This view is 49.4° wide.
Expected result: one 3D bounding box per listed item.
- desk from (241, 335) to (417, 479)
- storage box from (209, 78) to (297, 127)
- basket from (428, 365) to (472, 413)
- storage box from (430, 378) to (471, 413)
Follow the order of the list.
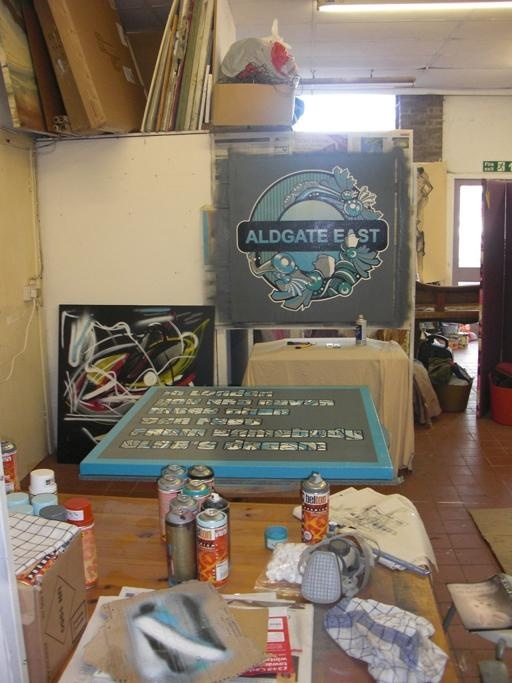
[{"bbox_3d":[0.499,0.382,3.655,1.078,0.662,0.729,0,7,13],"label":"desk"},{"bbox_3d":[-0.072,-1.490,3.495,0.563,0.236,0.404,-6,25,-14],"label":"storage box"},{"bbox_3d":[1.875,0.418,5.279,0.398,0.391,0.373,-6,0,32],"label":"basket"},{"bbox_3d":[1.815,0.512,5.161,0.346,0.221,0.294,-1,1,4],"label":"storage box"}]
